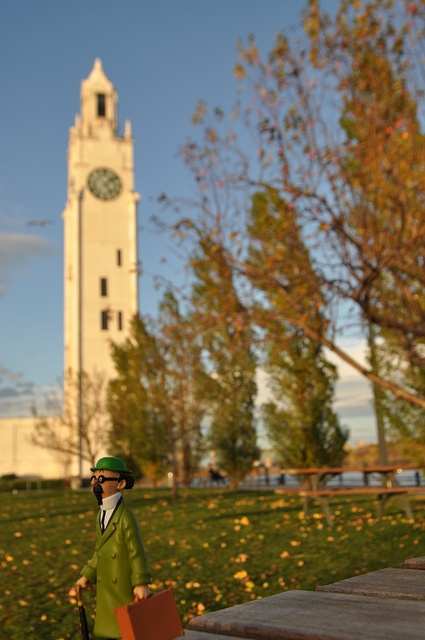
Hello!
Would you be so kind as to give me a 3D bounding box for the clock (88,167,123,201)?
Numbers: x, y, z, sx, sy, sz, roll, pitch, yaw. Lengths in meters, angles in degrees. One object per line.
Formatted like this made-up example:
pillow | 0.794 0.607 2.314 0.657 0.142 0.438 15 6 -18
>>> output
clock | -7.055 -8.840 54.245 2.319 2.051 0.469 -17 -1 -31
